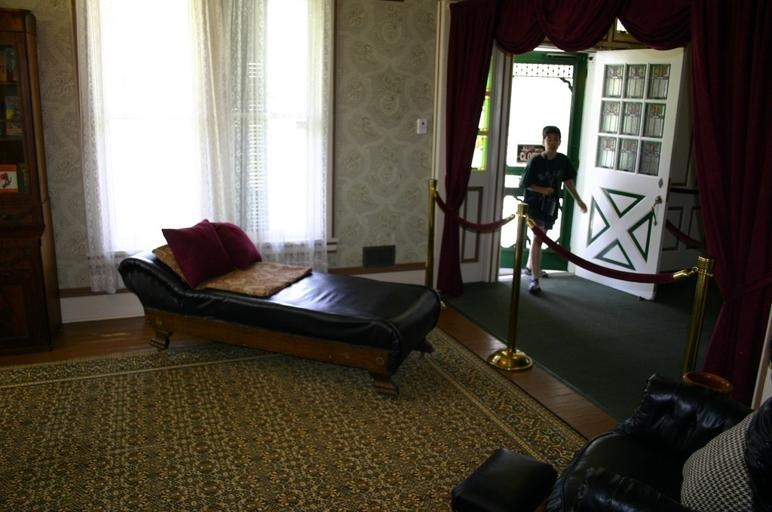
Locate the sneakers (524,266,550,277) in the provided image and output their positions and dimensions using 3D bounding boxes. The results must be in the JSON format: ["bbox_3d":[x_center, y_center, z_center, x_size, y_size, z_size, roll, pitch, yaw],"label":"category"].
[{"bbox_3d":[1.784,0.192,6.683,0.122,0.145,0.359,-8,10,-38],"label":"sneakers"}]

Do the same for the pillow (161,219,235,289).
[{"bbox_3d":[-1.644,-0.138,4.988,0.604,0.193,0.637,-22,5,15],"label":"pillow"}]

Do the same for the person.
[{"bbox_3d":[1.851,-0.549,6.242,0.574,1.809,0.853,11,20,39],"label":"person"}]
